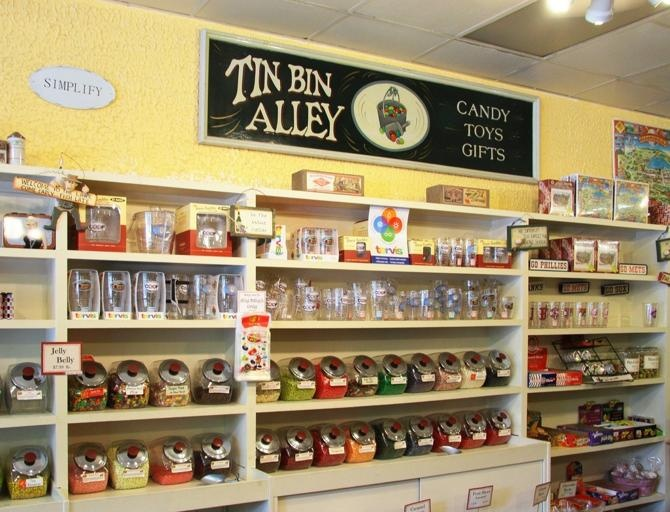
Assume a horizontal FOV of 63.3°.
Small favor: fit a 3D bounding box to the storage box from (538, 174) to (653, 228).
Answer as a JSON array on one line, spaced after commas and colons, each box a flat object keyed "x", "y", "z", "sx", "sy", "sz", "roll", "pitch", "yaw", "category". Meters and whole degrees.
[{"x": 2.010, "y": -0.422, "z": 4.188, "sx": 1.099, "sy": 0.395, "sz": 0.194, "roll": -2, "pitch": -1, "yaw": -26, "category": "storage box"}]

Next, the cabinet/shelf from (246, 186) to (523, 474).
[{"x": 0.281, "y": 0.489, "z": 3.395, "sx": 1.796, "sy": 1.532, "sz": 0.527, "roll": 2, "pitch": -5, "yaw": -24, "category": "cabinet/shelf"}]

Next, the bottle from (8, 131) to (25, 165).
[{"x": -1.594, "y": -0.524, "z": 2.726, "sx": 0.077, "sy": 0.187, "sz": 0.242, "roll": -2, "pitch": -1, "yaw": -30, "category": "bottle"}]

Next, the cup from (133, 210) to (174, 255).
[{"x": -0.960, "y": -0.112, "z": 2.920, "sx": 0.222, "sy": 0.239, "sz": 0.226, "roll": 1, "pitch": -1, "yaw": 0, "category": "cup"}]

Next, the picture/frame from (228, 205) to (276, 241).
[{"x": -0.462, "y": -0.179, "z": 3.007, "sx": 0.197, "sy": 0.141, "sz": 0.033, "roll": 4, "pitch": -12, "yaw": -32, "category": "picture/frame"}]

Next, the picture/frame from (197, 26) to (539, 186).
[{"x": 0.418, "y": -0.973, "z": 3.842, "sx": 2.781, "sy": 0.662, "sz": 0.058, "roll": 1, "pitch": 4, "yaw": -29, "category": "picture/frame"}]
